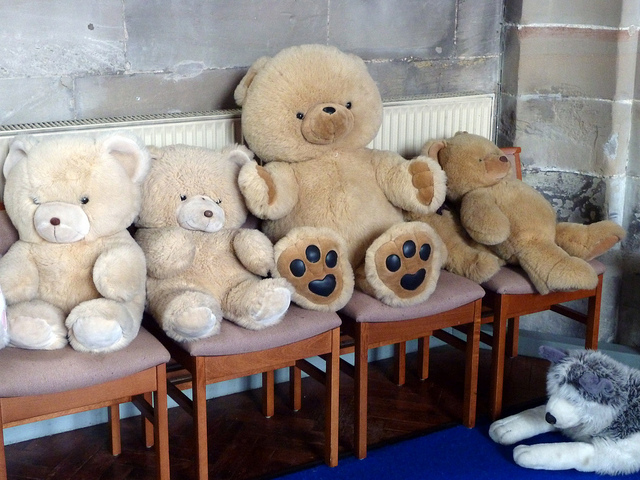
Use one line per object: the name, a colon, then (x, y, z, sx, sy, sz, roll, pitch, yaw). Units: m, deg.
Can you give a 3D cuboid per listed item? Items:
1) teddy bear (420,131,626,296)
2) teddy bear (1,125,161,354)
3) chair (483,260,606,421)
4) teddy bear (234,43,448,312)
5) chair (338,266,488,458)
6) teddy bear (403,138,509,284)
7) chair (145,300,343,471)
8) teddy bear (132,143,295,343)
teddy bear: (0.866, -0.140, 2.806, 0.668, 0.600, 0.892, -21, 32, -35)
teddy bear: (-0.822, -0.002, 2.053, 0.475, 0.648, 0.424, -1, 18, 5)
chair: (0.929, 0.393, 2.932, 0.592, 0.589, 0.456, -9, 15, -24)
teddy bear: (0.056, -0.261, 2.506, 0.823, 0.934, 0.805, -2, 17, -5)
chair: (0.271, 0.467, 2.771, 0.634, 0.640, 0.681, -6, 13, -18)
teddy bear: (0.611, -0.188, 2.856, 0.615, 0.735, 0.537, 4, 16, 19)
chair: (-0.244, 0.518, 2.445, 0.743, 0.656, 0.510, -10, 19, -22)
teddy bear: (-0.427, -0.008, 2.301, 0.503, 0.604, 0.625, -9, 22, -28)
